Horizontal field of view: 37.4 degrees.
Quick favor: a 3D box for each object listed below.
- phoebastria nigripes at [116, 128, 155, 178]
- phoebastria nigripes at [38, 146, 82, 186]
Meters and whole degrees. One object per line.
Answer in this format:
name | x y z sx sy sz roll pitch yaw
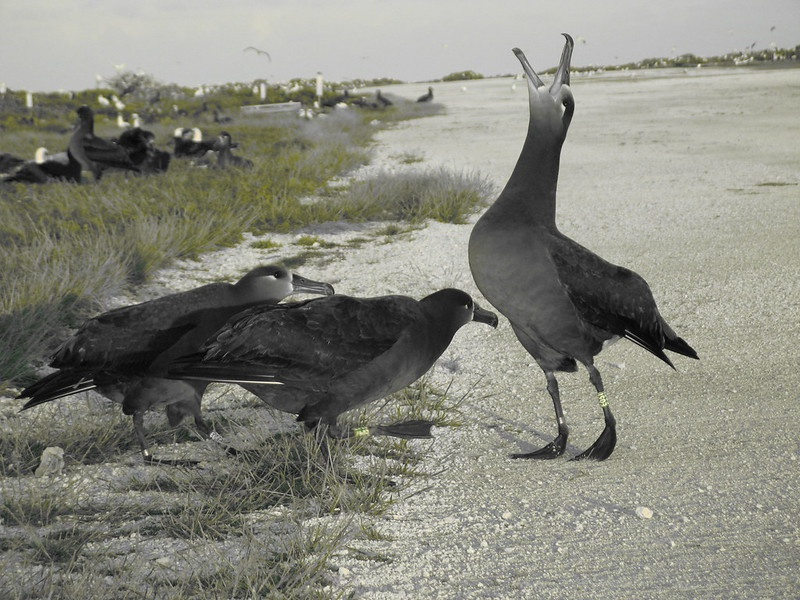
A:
phoebastria nigripes | -5.028 -2.837 22.710 0.968 0.798 0.527 2 3 14
phoebastria nigripes | -6.151 -2.436 21.587 0.664 0.627 0.671 -3 16 -5
